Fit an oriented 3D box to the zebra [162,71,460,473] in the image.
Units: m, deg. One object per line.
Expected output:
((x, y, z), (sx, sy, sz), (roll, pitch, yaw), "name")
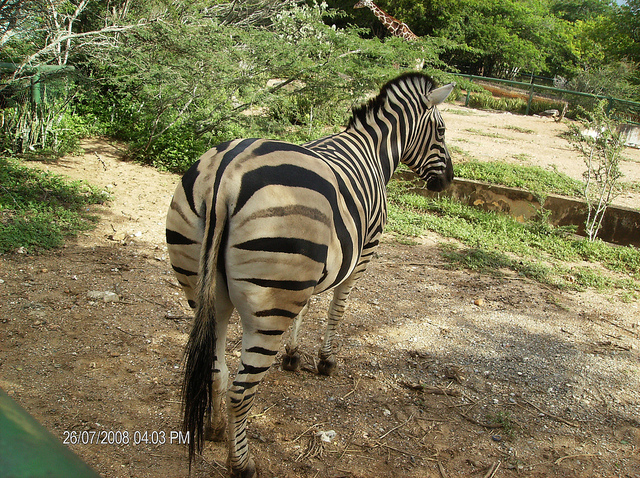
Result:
((0.014, 0.107, 6.098), (1.304, 3.933, 3.345), (17, 13, 30), "zebra")
